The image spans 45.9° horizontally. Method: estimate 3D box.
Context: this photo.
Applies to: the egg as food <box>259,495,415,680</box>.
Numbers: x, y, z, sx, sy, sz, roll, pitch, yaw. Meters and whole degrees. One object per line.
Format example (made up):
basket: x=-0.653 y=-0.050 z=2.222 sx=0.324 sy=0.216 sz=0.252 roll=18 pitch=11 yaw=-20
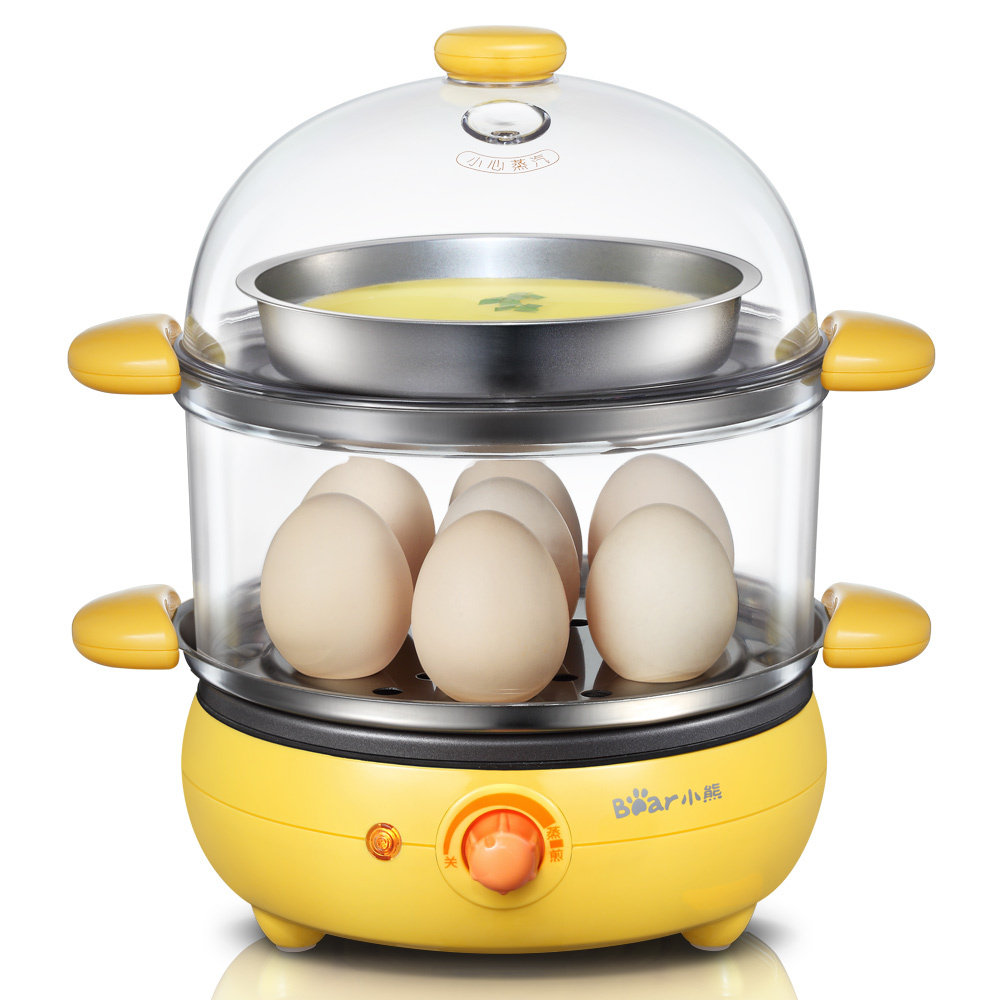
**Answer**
egg as food: x=-0.209 y=0.114 z=1.540 sx=0.187 sy=0.233 sz=0.073 roll=0 pitch=2 yaw=-4
